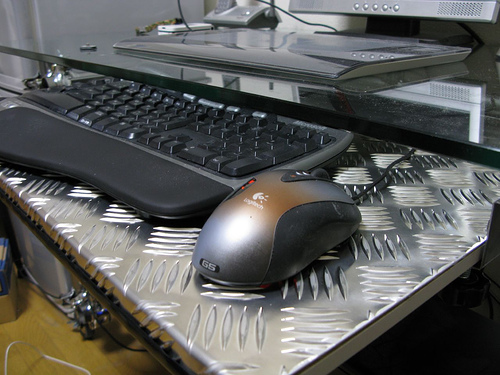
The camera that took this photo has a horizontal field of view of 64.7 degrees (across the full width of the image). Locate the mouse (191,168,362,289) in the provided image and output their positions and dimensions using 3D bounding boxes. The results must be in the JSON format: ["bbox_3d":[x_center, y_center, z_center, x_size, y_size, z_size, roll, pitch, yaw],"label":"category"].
[{"bbox_3d":[0.031,0.023,0.417,0.131,0.064,0.204,25,38,34],"label":"mouse"}]
